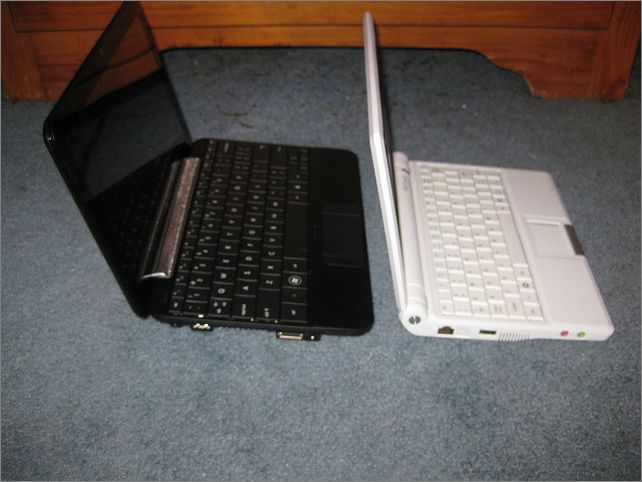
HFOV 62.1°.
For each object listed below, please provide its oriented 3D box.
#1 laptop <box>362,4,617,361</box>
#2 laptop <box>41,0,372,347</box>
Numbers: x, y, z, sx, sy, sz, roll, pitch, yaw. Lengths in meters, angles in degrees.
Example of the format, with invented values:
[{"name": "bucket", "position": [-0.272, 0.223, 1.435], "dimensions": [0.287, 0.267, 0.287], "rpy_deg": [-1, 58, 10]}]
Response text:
[{"name": "laptop", "position": [0.235, -0.070, 0.750], "dimensions": [0.341, 0.270, 0.351], "rpy_deg": [-1, 54, 1]}, {"name": "laptop", "position": [-0.113, -0.104, 0.749], "dimensions": [0.399, 0.269, 0.396], "rpy_deg": [4, 55, 4]}]
